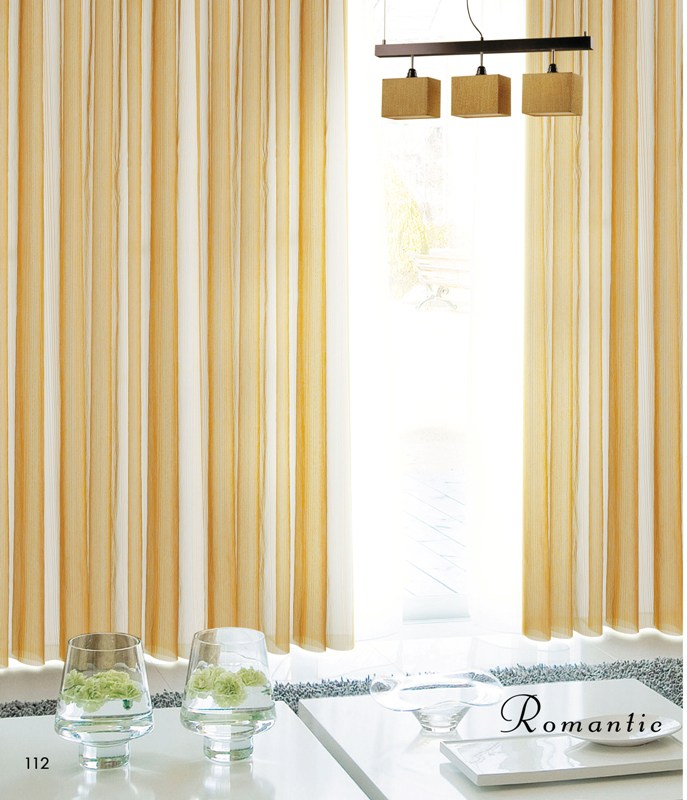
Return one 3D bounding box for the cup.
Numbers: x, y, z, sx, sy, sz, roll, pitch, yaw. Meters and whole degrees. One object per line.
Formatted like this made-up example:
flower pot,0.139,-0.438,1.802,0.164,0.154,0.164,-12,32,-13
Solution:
cup,-0.284,0.449,1.647,0.358,0.241,0.175,-1,-1,-11
